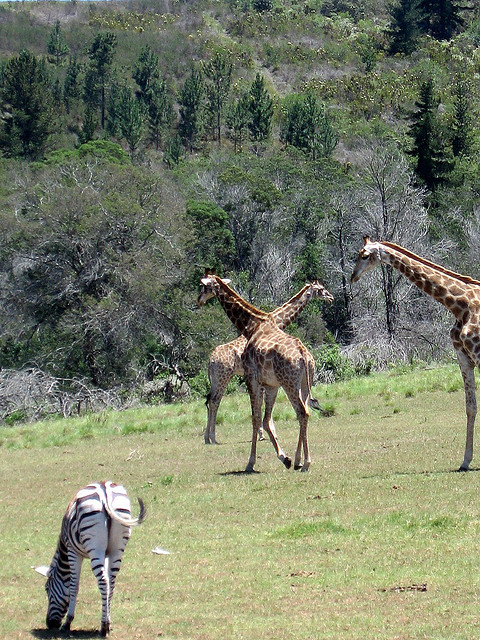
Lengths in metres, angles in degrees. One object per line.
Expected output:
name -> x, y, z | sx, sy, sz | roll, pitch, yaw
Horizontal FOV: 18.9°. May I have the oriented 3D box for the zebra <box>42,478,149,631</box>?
zebra -> -2.677, 4.112, 26.476 | 1.363, 3.425, 2.358 | -1, 7, -13
